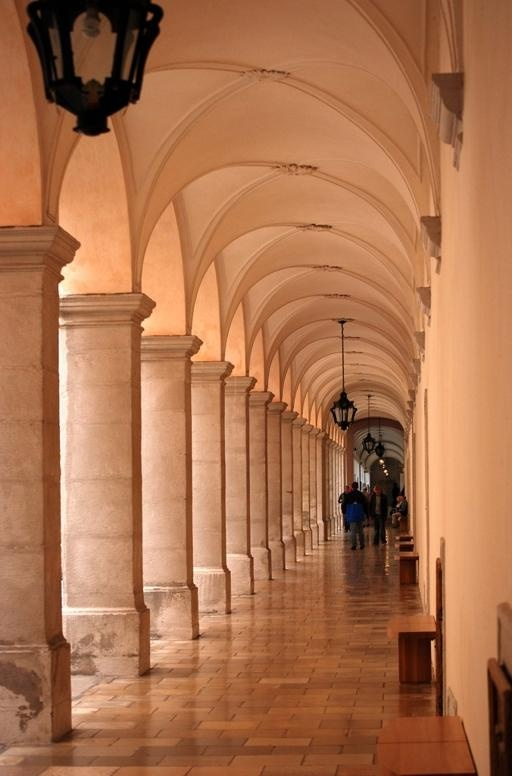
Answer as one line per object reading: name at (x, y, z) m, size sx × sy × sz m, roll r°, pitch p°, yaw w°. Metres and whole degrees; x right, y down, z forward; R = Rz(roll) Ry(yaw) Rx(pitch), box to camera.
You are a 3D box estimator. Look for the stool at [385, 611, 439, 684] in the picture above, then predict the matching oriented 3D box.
stool at (1.440, 2.383, 7.239) m, size 0.387 × 0.468 × 0.773 m, roll -1°, pitch -5°, yaw 12°
